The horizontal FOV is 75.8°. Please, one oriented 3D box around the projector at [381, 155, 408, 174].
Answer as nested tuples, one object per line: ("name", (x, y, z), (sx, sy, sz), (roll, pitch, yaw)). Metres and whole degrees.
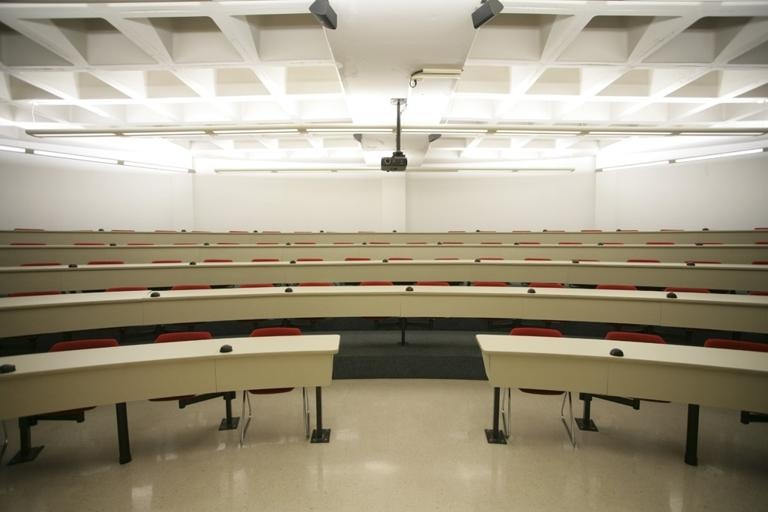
("projector", (0.215, -1.935, 10.240), (0.482, 0.289, 0.688), (0, 0, 5))
